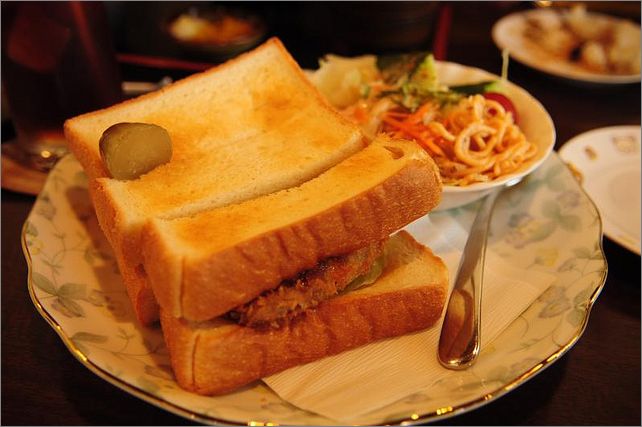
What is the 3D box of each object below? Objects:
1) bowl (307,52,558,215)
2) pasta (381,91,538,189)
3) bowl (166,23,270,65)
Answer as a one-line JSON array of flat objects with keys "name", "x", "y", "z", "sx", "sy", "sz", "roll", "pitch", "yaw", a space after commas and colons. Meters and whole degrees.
[{"name": "bowl", "x": 0.632, "y": -0.412, "z": 2.650, "sx": 1.333, "sy": 0.603, "sz": 0.835, "roll": 0, "pitch": 16, "yaw": 19}, {"name": "pasta", "x": 0.674, "y": -0.384, "z": 2.637, "sx": 0.679, "sy": 0.374, "sz": 1.007, "roll": -12, "pitch": 16, "yaw": -40}, {"name": "bowl", "x": -0.646, "y": -1.130, "z": 3.600, "sx": 0.690, "sy": 0.193, "sz": 0.671, "roll": 0, "pitch": 20, "yaw": 0}]
